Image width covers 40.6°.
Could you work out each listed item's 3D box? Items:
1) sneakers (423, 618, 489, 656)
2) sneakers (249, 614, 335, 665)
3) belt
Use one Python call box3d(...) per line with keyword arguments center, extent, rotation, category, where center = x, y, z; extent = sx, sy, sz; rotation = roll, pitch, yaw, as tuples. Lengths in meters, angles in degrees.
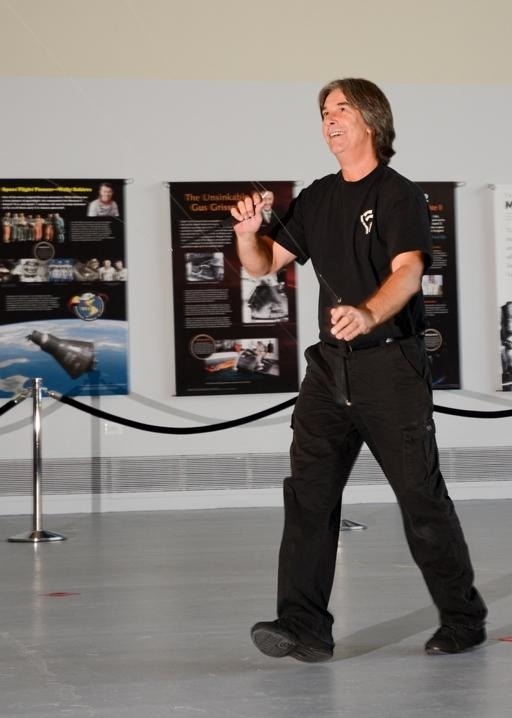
box3d(center=(0.516, 0.728, 1.834), extent=(0.188, 0.066, 0.064), rotation=(0, -7, -26), category="sneakers")
box3d(center=(0.079, 0.669, 1.637), extent=(0.242, 0.077, 0.107), rotation=(17, 10, -12), category="sneakers")
box3d(center=(0.294, -0.059, 1.778), extent=(0.271, 0.079, 0.160), rotation=(-2, -5, 11), category="belt")
